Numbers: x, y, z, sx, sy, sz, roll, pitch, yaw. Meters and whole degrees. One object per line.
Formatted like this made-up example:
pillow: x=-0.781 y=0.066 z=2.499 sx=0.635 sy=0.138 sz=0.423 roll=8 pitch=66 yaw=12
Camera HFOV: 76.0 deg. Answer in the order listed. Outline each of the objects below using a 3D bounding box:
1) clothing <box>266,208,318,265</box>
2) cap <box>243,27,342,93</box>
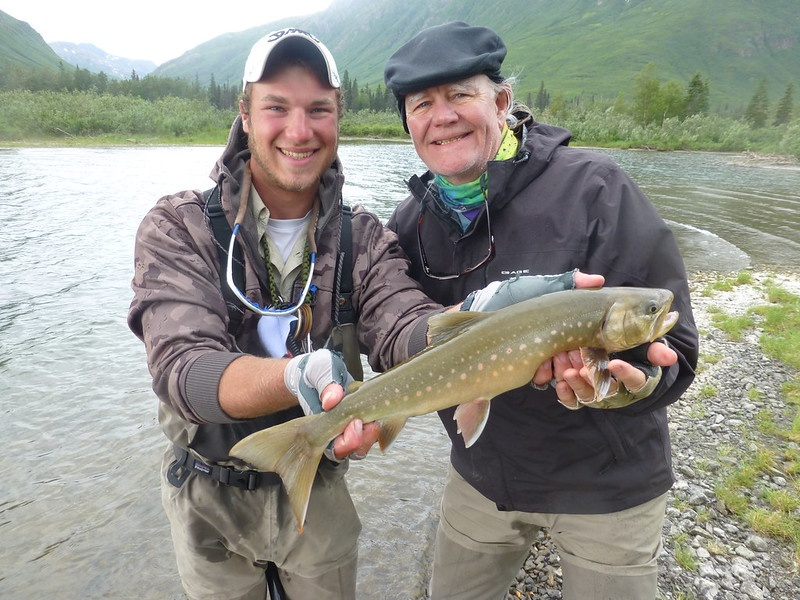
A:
clothing: x=-1.078 y=-0.615 z=4.963 sx=0.397 sy=0.539 sz=0.296 roll=4 pitch=-8 yaw=-4
cap: x=-1.166 y=-2.219 z=4.878 sx=0.816 sy=0.587 sz=1.300 roll=-6 pitch=22 yaw=-17
